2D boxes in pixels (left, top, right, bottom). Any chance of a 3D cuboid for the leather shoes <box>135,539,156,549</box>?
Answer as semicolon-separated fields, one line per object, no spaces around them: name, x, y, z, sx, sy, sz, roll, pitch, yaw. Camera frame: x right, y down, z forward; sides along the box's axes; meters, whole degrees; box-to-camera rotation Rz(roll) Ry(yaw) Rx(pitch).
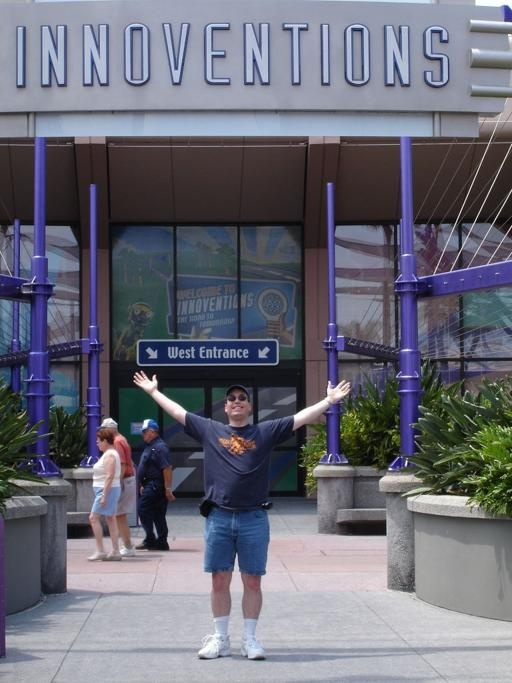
leather shoes;-1.364;2.504;10.921;0.275;0.122;0.102;2;-7;14

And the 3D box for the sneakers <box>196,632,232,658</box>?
sneakers;-0.247;1.760;5.117;0.089;0.104;0.217;-7;-11;41

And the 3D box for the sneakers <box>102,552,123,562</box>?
sneakers;-1.590;2.375;9.811;0.216;0.093;0.081;4;-4;12

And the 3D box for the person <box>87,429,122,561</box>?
person;-1.670;1.686;9.741;0.356;1.453;0.537;0;-5;-11

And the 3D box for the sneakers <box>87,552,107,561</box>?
sneakers;-1.751;2.364;9.778;0.228;0.102;0.090;4;-8;-9

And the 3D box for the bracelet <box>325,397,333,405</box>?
bracelet;0.449;0.366;5.441;0.033;0.045;0.040;-5;-31;3

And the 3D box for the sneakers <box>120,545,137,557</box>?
sneakers;-1.481;2.436;10.276;0.081;0.085;0.195;-3;-14;18
